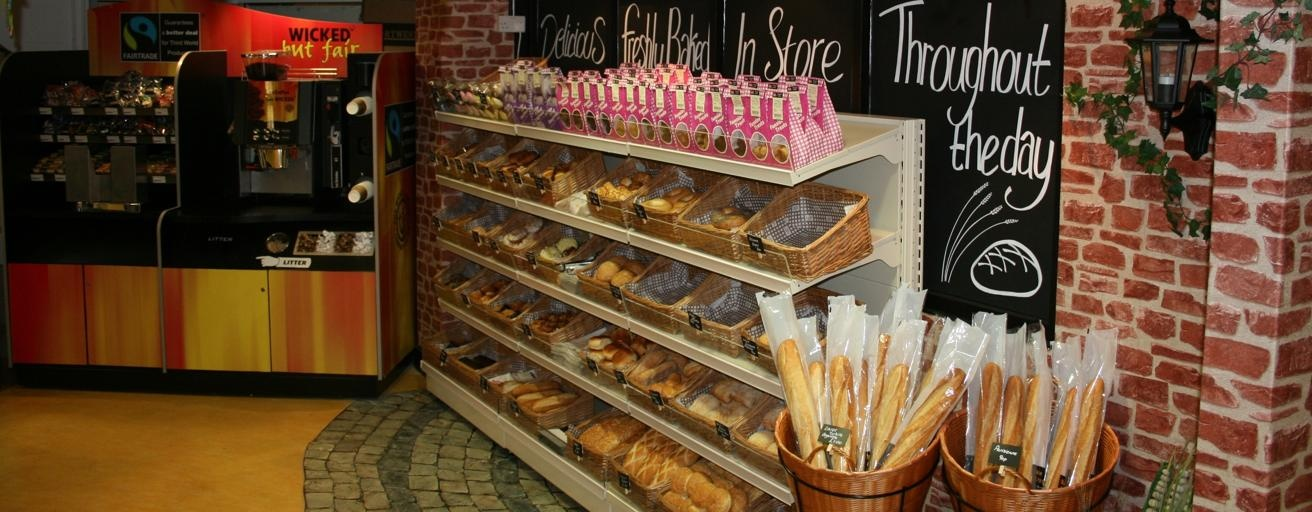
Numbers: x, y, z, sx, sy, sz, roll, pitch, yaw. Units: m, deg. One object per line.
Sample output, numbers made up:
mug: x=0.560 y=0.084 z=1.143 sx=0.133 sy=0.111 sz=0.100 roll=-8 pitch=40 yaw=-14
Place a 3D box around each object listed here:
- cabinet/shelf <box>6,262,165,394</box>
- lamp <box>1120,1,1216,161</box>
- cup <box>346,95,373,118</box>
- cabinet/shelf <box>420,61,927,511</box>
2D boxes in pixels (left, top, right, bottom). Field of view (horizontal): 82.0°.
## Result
cabinet/shelf: x=-7.333 y=0.846 z=9.712 sx=2.293 sy=1.396 sz=1.051 roll=0 pitch=3 yaw=5
lamp: x=4.230 y=-1.435 z=6.184 sx=0.709 sy=1.255 sz=0.322 roll=6 pitch=11 yaw=22
cup: x=-3.666 y=-1.847 z=9.316 sx=0.283 sy=0.252 sz=0.289 roll=2 pitch=10 yaw=0
cabinet/shelf: x=0.288 y=0.334 z=7.544 sx=5.716 sy=2.467 sz=1.709 roll=13 pitch=21 yaw=36
